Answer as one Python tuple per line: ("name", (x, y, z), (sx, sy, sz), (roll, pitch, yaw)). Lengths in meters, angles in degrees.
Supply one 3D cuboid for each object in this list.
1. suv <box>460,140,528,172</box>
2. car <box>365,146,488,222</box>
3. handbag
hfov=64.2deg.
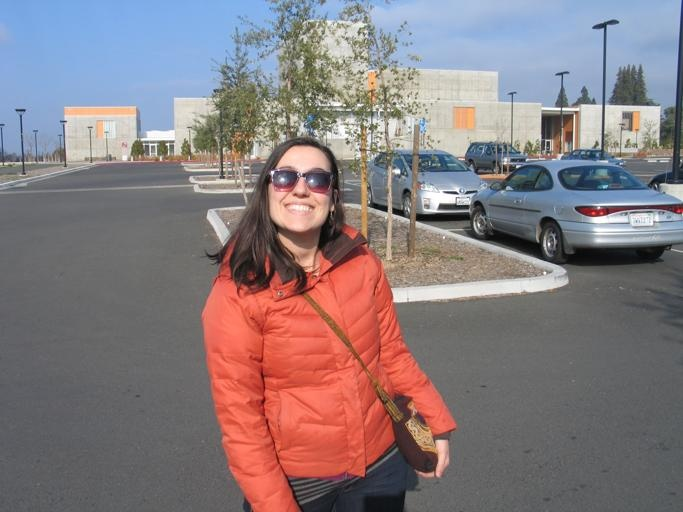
("suv", (10.659, -6.651, 37.851), (1.915, 2.140, 4.311), (-5, 13, -20))
("car", (2.247, -2.203, 16.703), (1.795, 1.627, 3.422), (-2, 9, -19))
("handbag", (0.303, 0.829, 2.519), (0.175, 0.378, 0.111), (-12, -11, -45))
